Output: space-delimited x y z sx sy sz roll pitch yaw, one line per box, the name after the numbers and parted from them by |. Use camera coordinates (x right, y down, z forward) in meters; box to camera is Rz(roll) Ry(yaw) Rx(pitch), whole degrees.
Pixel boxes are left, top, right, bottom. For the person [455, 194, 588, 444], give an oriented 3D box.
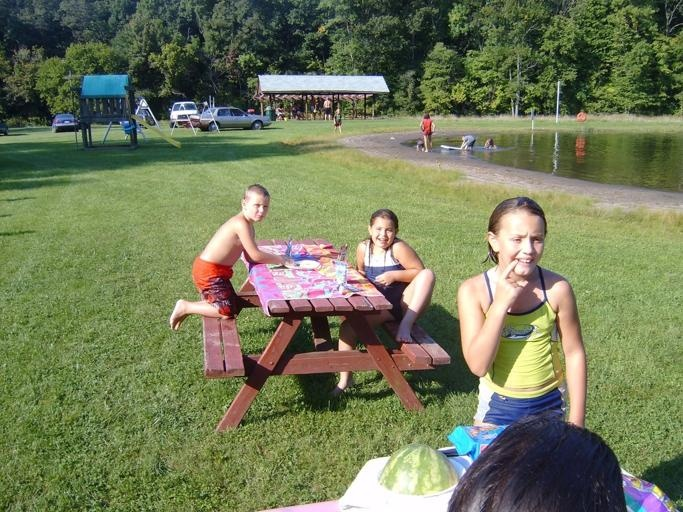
1.010 0.404 3.221 0.498 1.594 0.609 0 1 -19 | person

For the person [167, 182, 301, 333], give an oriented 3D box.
-1.069 0.031 5.396 0.962 1.484 0.526 6 0 -4 | person

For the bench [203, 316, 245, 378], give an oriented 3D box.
-0.988 0.868 4.648 0.290 0.432 1.116 -5 14 -15 | bench

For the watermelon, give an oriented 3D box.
0.318 0.868 2.277 0.274 0.184 0.231 2 11 -5 | watermelon

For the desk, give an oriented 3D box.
-0.253 0.640 5.350 1.842 1.204 2.271 0 13 -9 | desk
